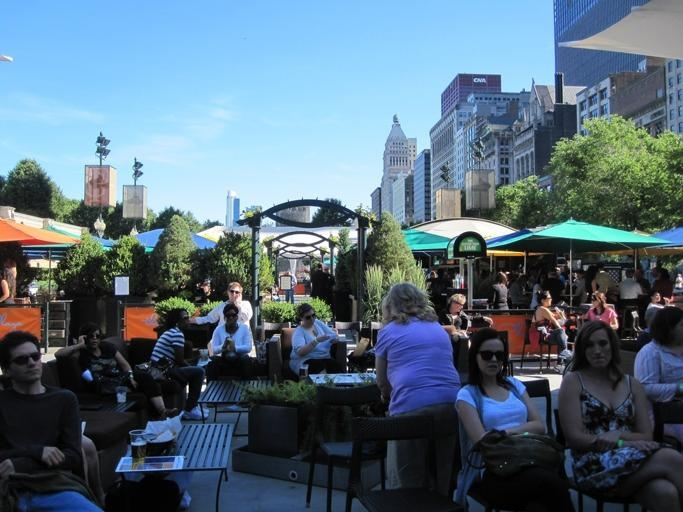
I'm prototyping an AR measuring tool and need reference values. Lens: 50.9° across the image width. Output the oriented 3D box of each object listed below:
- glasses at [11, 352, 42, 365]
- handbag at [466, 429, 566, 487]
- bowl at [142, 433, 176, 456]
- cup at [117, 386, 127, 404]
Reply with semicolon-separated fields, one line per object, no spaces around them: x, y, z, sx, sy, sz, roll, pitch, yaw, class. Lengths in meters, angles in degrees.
-2.853;0.925;6.493;0.258;0.111;0.137;1;-4;-41;glasses
1.531;1.670;6.141;0.465;0.219;0.480;-3;0;-13;handbag
-1.734;1.809;6.908;0.182;0.146;0.222;-1;-17;-1;bowl
-2.751;1.732;8.967;0.148;0.176;0.159;3;3;0;cup
